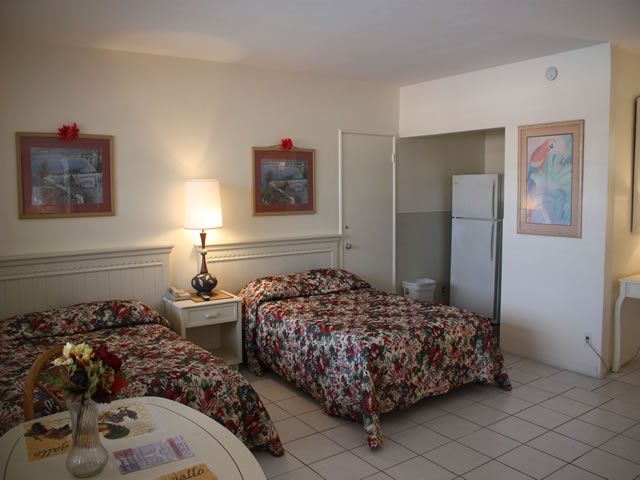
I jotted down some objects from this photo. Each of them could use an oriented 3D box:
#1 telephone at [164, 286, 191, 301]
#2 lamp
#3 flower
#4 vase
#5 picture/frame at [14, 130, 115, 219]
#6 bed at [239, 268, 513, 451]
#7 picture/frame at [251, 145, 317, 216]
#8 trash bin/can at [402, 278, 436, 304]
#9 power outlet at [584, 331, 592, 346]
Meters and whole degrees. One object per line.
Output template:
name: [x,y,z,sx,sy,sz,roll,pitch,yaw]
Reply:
telephone: [-1.371,0.510,4.312,0.187,0.100,0.246,-7,11,-36]
lamp: [-1.148,-0.027,4.401,0.341,1.141,0.474,-6,10,-31]
flower: [-0.883,0.481,1.766,0.244,0.213,0.246,12,7,28]
vase: [-0.903,0.739,1.699,0.147,0.292,0.128,-4,9,-22]
picture/frame: [-2.303,-0.591,3.941,0.792,0.805,0.038,-3,4,-33]
bed: [0.460,0.897,4.251,1.655,0.901,2.069,-8,11,-40]
picture/frame: [-0.435,-0.689,4.979,0.780,0.749,0.053,-5,8,-30]
trash bin/can: [1.280,0.627,5.625,0.360,0.408,0.324,-1,-6,-2]
power outlet: [2.588,0.947,4.285,0.010,0.120,0.071,-6,10,-34]
